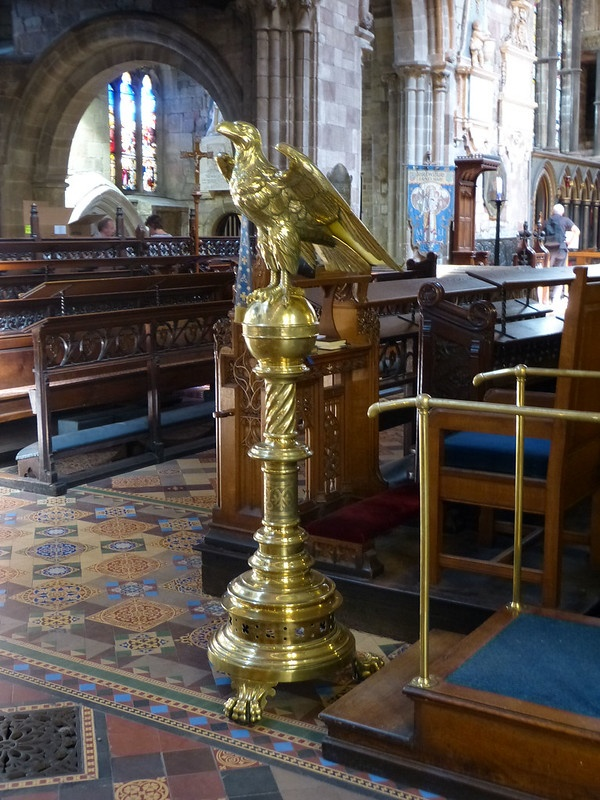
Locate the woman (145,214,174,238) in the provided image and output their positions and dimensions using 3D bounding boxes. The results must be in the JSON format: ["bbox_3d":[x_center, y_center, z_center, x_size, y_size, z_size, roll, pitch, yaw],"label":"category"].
[{"bbox_3d":[-2.476,-3.011,12.715,0.301,0.444,0.920,-8,8,-9],"label":"woman"}]

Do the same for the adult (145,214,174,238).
[{"bbox_3d":[-2.498,-3.035,12.796,0.294,0.472,1.088,-8,8,-10],"label":"adult"}]
